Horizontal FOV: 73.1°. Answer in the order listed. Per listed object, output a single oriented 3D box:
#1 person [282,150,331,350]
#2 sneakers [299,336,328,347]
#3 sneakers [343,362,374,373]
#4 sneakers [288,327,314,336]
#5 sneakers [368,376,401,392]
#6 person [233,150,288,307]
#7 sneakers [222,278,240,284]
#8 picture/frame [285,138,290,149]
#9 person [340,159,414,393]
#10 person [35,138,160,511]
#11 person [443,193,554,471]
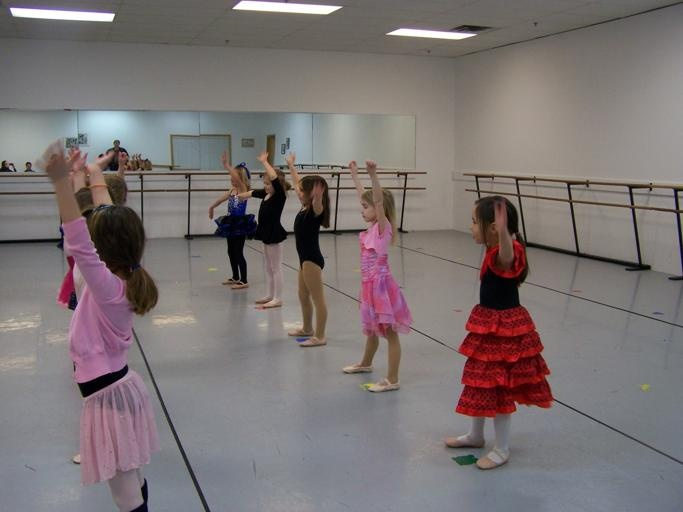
[{"bbox_3d":[-0.332,0.028,4.379,0.405,1.569,0.758,-1,10,-3],"label":"person"},{"bbox_3d":[-0.267,0.805,4.303,0.255,0.108,0.100,2,-1,-9],"label":"sneakers"},{"bbox_3d":[0.131,0.914,3.741,0.240,0.100,0.094,2,-2,-7],"label":"sneakers"},{"bbox_3d":[-0.405,0.758,4.540,0.243,0.103,0.095,4,0,3],"label":"sneakers"},{"bbox_3d":[0.300,0.945,3.414,0.179,0.081,0.106,1,-3,-10],"label":"sneakers"},{"bbox_3d":[-0.873,-0.313,5.458,0.459,1.771,0.837,-2,11,-9],"label":"person"},{"bbox_3d":[-1.576,0.367,6.445,0.178,0.081,0.103,2,2,3],"label":"sneakers"},{"bbox_3d":[-1.240,-2.560,10.468,0.081,0.223,0.025,-2,10,-12],"label":"picture/frame"},{"bbox_3d":[0.257,0.126,3.521,0.477,1.663,0.640,-2,11,-11],"label":"person"},{"bbox_3d":[-0.856,0.375,1.740,0.323,1.542,0.485,-6,12,-30],"label":"person"},{"bbox_3d":[0.880,0.409,2.529,0.540,1.466,0.518,1,10,6],"label":"person"}]
